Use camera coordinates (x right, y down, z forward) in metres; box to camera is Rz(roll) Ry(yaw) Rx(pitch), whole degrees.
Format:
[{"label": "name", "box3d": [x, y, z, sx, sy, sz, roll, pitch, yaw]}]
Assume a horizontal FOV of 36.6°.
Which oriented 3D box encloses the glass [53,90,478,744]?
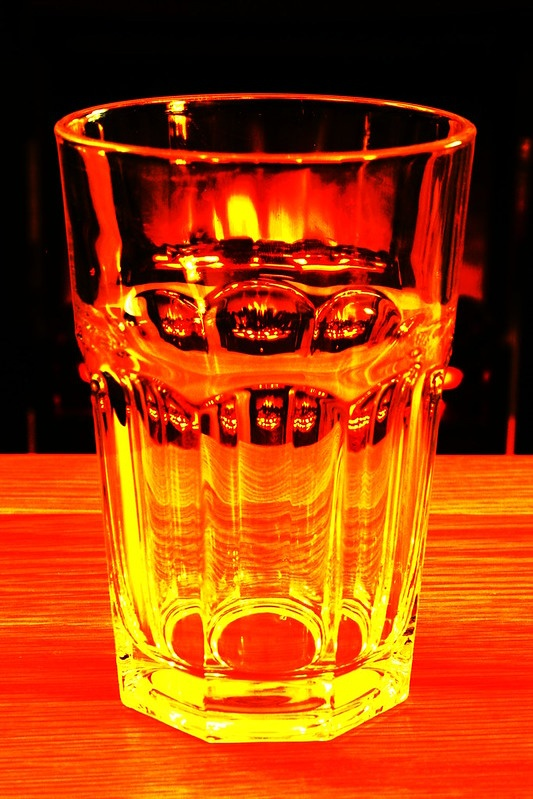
[{"label": "glass", "box3d": [0.007, 0.010, 0.389, 0.168, 0.238, 0.163, 4, 6, 27]}]
